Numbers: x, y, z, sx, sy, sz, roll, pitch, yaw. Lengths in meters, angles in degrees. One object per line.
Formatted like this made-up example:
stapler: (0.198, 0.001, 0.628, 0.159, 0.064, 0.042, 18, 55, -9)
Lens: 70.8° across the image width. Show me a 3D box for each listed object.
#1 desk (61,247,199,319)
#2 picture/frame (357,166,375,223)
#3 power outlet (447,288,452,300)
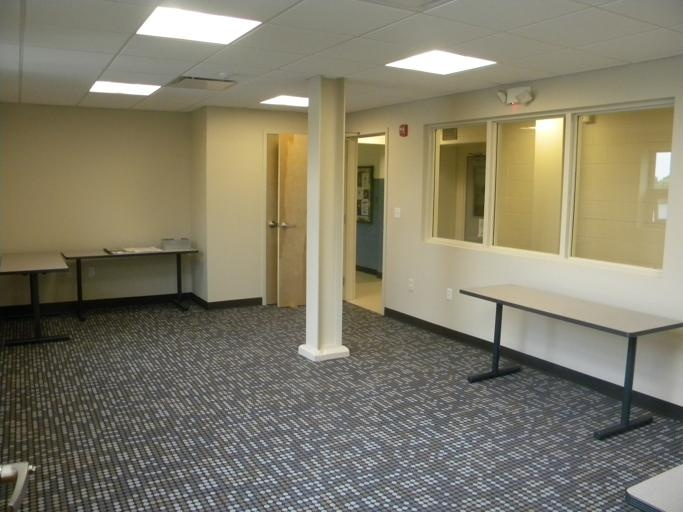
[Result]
desk: (-2.992, 0.343, 6.856, 1.677, 0.811, 0.721, -3, 8, -35)
picture/frame: (0.461, -1.204, 9.513, 0.196, 1.102, 0.757, -3, 11, -20)
power outlet: (1.295, 0.456, 5.783, 0.011, 0.143, 0.104, -6, 12, -37)
